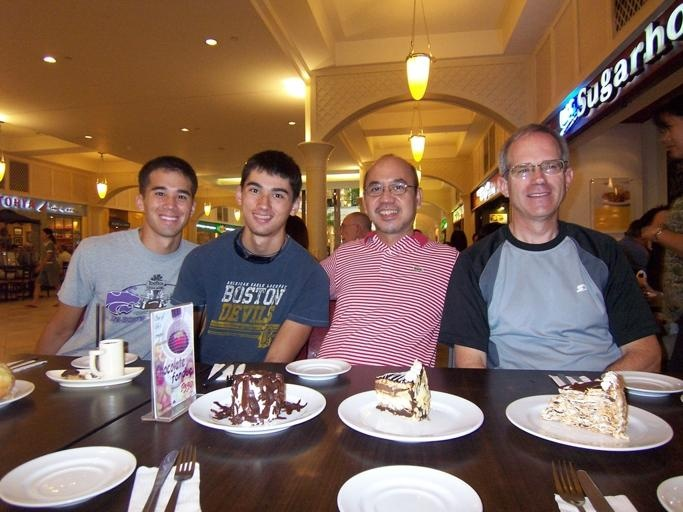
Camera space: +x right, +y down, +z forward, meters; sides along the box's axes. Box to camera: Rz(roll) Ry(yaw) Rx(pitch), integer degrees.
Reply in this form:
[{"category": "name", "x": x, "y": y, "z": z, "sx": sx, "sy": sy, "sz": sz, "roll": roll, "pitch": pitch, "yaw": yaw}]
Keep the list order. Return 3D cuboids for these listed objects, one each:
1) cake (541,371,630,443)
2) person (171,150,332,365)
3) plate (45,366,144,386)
[{"category": "cake", "x": 0.820, "y": 0.503, "z": 1.599, "sx": 0.195, "sy": 0.076, "sz": 0.198, "roll": -18, "pitch": 16, "yaw": -15}, {"category": "person", "x": -0.478, "y": 0.062, "z": 2.575, "sx": 0.815, "sy": 1.204, "sz": 0.767, "roll": 8, "pitch": 15, "yaw": -7}, {"category": "plate", "x": -1.009, "y": 0.492, "z": 1.942, "sx": 0.211, "sy": 0.034, "sz": 0.148, "roll": 4, "pitch": 1, "yaw": -3}]
